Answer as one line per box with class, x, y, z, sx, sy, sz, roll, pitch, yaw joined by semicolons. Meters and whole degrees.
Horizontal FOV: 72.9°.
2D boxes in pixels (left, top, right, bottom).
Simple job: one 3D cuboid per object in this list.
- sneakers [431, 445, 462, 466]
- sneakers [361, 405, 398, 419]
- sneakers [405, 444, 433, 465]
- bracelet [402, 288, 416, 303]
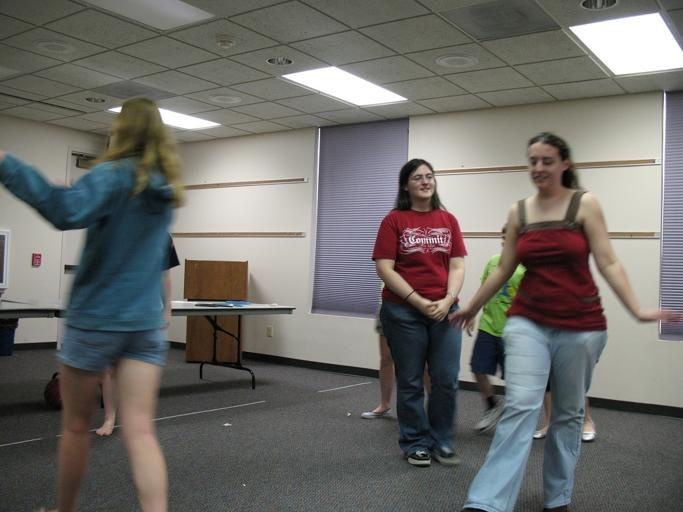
sneakers;0.718;1.372;3.208;0.215;0.076;0.096;-4;-3;43
sneakers;0.377;1.562;4.637;0.333;0.112;0.114;3;-9;-4
sneakers;0.529;1.371;3.187;0.088;0.089;0.224;1;-1;-5
bracelet;0.430;0.254;3.007;0.071;0.062;0.064;-13;36;-20
